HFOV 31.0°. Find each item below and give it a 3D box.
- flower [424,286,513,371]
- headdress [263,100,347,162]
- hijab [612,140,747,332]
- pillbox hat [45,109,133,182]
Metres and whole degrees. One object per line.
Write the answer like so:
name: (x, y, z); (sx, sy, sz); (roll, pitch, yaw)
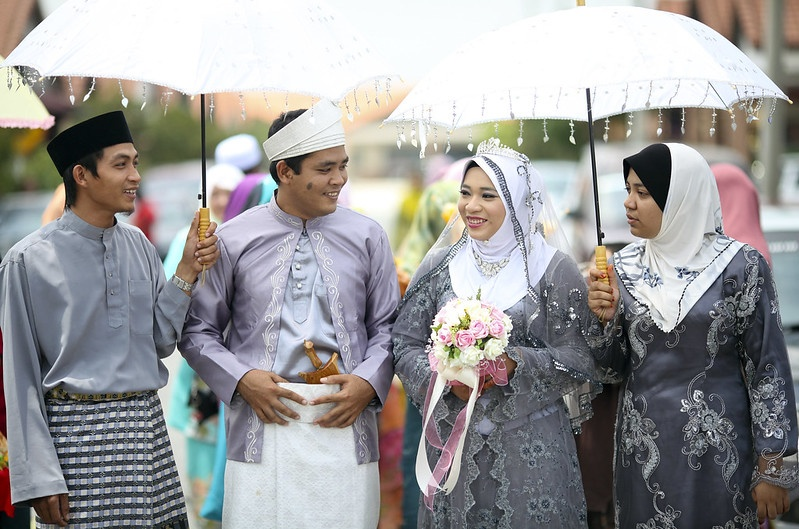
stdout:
flower: (0.414, 0.407, 8.694); (0.416, 0.461, 0.312); (30, -14, 51)
headdress: (-0.548, -0.821, 8.950); (0.438, 0.234, 0.349); (-33, -2, 35)
hijab: (1.750, -0.174, 9.094); (0.755, 1.054, 0.892); (-7, 4, -15)
pillbox hat: (-1.901, -0.812, 8.966); (0.452, 0.191, 0.484); (-17, 7, -3)
